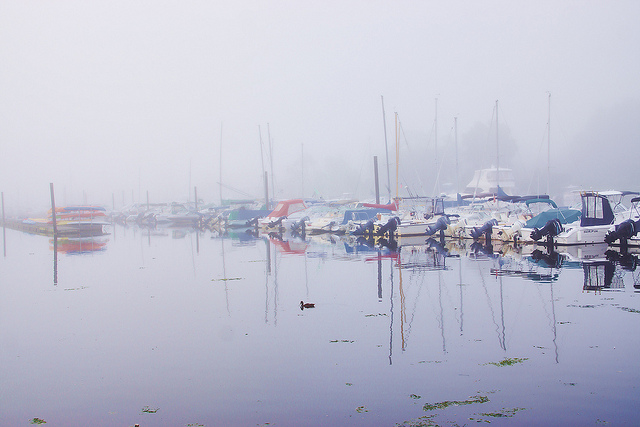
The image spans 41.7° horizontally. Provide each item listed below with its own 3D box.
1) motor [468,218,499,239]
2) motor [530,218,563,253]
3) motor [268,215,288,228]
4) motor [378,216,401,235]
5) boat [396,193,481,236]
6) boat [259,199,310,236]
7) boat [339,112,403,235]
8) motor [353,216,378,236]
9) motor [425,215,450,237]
[{"bbox_3d":[8.877,0.871,45.540,1.284,0.984,0.684,-3,-3,35],"label":"motor"},{"bbox_3d":[11.065,0.971,40.753,1.403,1.393,0.850,-2,-2,16],"label":"motor"},{"bbox_3d":[-3.101,0.636,62.058,0.818,0.717,1.659,1,-3,-37],"label":"motor"},{"bbox_3d":[4.210,0.658,49.756,0.680,0.945,1.480,1,-3,-44],"label":"motor"},{"bbox_3d":[7.345,-0.017,50.642,5.732,1.951,2.037,-1,26,27],"label":"boat"},{"bbox_3d":[-2.376,0.199,62.734,5.397,3.071,2.634,0,-2,-18],"label":"boat"},{"bbox_3d":[3.375,-2.393,53.516,5.253,7.449,1.878,4,25,16],"label":"boat"},{"bbox_3d":[2.889,0.833,51.336,0.913,0.984,2.057,0,-2,-21],"label":"motor"},{"bbox_3d":[6.909,0.707,48.714,1.254,0.787,0.562,-25,25,-13],"label":"motor"}]
